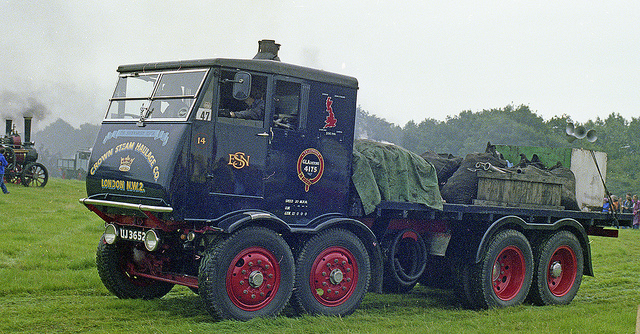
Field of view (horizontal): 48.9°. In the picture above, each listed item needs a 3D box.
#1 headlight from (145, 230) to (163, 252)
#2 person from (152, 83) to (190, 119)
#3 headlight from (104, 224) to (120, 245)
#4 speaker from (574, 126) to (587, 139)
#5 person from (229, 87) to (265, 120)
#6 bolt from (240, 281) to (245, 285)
[{"bbox_3d":[-4.050,1.737,17.053,0.450,0.428,0.183,-27,-15,40],"label":"headlight"},{"bbox_3d":[-3.568,-1.561,17.154,0.954,0.850,0.224,7,-6,32],"label":"person"},{"bbox_3d":[-5.237,1.645,17.555,0.483,0.471,0.190,5,11,15],"label":"headlight"},{"bbox_3d":[8.122,-1.092,21.898,0.408,0.370,0.166,-5,-5,-14],"label":"speaker"},{"bbox_3d":[-1.698,-1.527,17.387,0.952,0.318,0.668,-6,-4,-20],"label":"person"},{"bbox_3d":[-1.891,2.769,17.002,0.069,0.076,0.068,24,-36,-31],"label":"bolt"}]
